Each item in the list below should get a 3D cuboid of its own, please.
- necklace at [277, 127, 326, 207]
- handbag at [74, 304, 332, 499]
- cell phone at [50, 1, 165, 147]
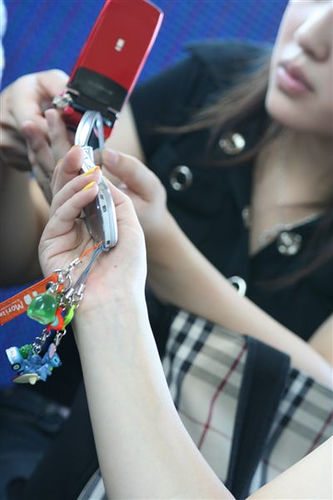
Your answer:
[{"bbox_3d":[0.192,-0.115,0.701,0.092,0.112,0.042,35,63,30],"label":"necklace"},{"bbox_3d":[0.045,0.202,0.605,0.185,0.095,0.227,35,87,12],"label":"handbag"},{"bbox_3d":[-0.092,-0.246,0.750,0.131,0.059,0.245,29,92,-3],"label":"cell phone"}]
